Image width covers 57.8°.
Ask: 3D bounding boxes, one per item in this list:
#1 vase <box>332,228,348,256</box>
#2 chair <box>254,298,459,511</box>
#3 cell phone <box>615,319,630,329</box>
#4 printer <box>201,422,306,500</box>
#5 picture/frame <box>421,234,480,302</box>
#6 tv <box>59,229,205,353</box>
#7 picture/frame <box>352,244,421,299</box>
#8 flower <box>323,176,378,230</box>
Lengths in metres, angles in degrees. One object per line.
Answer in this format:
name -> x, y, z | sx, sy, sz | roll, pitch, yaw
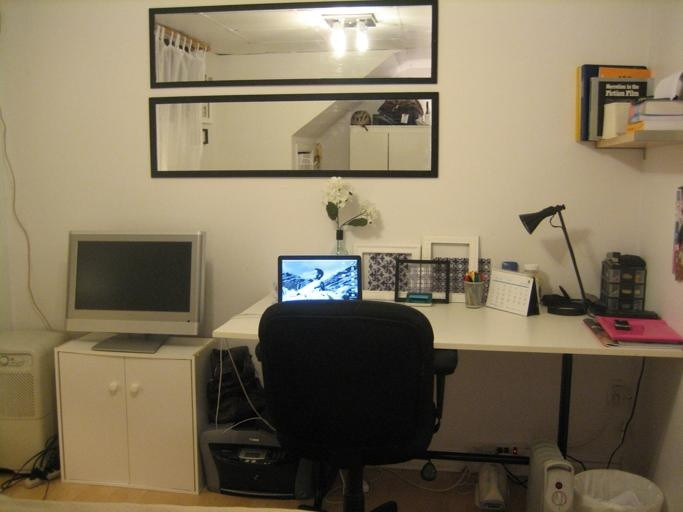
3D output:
vase -> 0.000, -0.085, 3.518 | 0.070, 0.149, 0.092 | 1, 7, 1
chair -> 0.053, 0.550, 2.810 | 0.781, 1.125, 0.689 | 1, 10, 8
cell phone -> 1.318, 0.319, 2.914 | 0.067, 0.030, 0.089 | 4, 7, 24
printer -> -0.466, 1.111, 3.300 | 0.585, 0.409, 0.410 | 0, -8, 4
picture/frame -> 0.610, 0.077, 3.425 | 0.350, 0.425, 0.032 | 1, -8, 7
tv -> -1.129, 0.195, 3.398 | 0.628, 0.565, 0.274 | 1, 0, 7
picture/frame -> 0.262, 0.092, 3.464 | 0.284, 0.250, 0.021 | 1, 0, 10
flower -> 0.058, -0.295, 3.479 | 0.313, 0.290, 0.158 | 1, 7, -1
